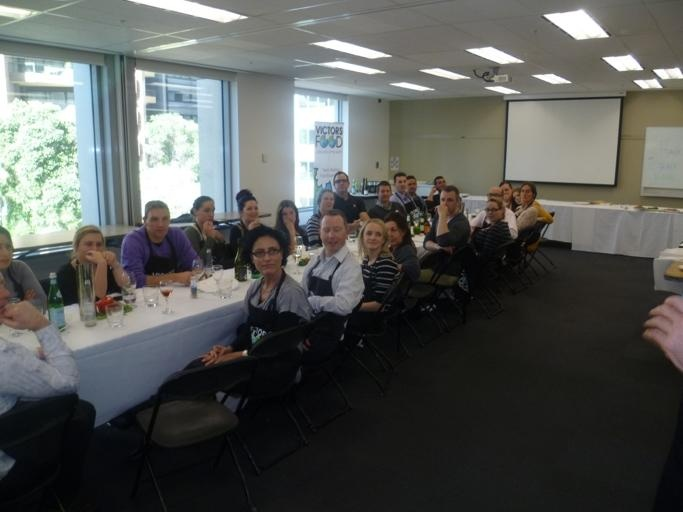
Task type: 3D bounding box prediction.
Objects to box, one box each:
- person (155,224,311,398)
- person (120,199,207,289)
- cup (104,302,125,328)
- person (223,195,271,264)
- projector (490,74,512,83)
[{"bbox_3d":[-0.575,0.310,3.114,0.572,1.048,0.802,0,0,39],"label":"person"},{"bbox_3d":[-1.415,-0.146,3.922,0.630,0.847,0.811,-13,21,-43],"label":"person"},{"bbox_3d":[-1.386,0.354,2.876,0.124,0.164,0.127,1,6,0],"label":"cup"},{"bbox_3d":[-1.052,-0.105,5.141,0.372,1.263,0.374,-5,18,-32],"label":"person"},{"bbox_3d":[2.658,-2.976,7.768,0.266,0.161,0.847,6,16,20],"label":"projector"}]
